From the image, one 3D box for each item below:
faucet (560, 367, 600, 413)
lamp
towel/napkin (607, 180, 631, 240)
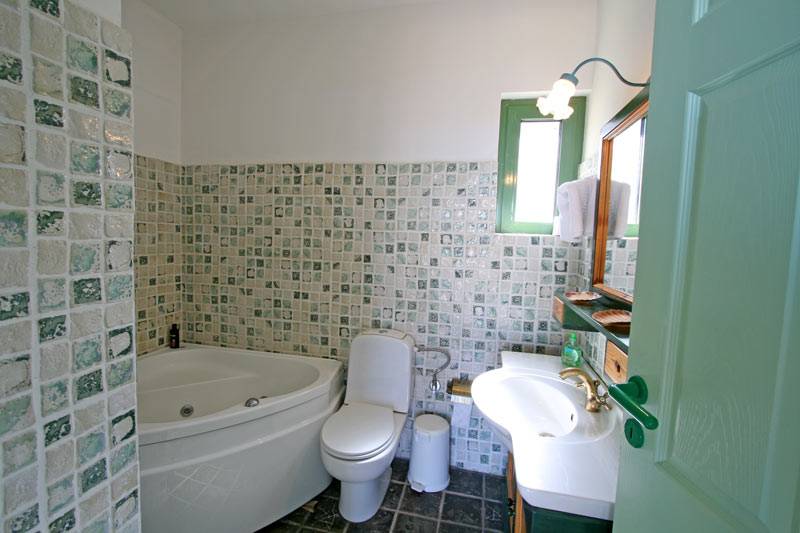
[{"bbox_3d":[0.745,0.467,2.217,0.166,0.171,0.139,-12,18,28],"label":"faucet"},{"bbox_3d":[0.767,-0.710,2.249,0.511,0.273,0.209,11,14,10],"label":"lamp"},{"bbox_3d":[0.865,-0.226,2.191,0.050,0.171,0.127,-10,17,-31],"label":"towel/napkin"}]
